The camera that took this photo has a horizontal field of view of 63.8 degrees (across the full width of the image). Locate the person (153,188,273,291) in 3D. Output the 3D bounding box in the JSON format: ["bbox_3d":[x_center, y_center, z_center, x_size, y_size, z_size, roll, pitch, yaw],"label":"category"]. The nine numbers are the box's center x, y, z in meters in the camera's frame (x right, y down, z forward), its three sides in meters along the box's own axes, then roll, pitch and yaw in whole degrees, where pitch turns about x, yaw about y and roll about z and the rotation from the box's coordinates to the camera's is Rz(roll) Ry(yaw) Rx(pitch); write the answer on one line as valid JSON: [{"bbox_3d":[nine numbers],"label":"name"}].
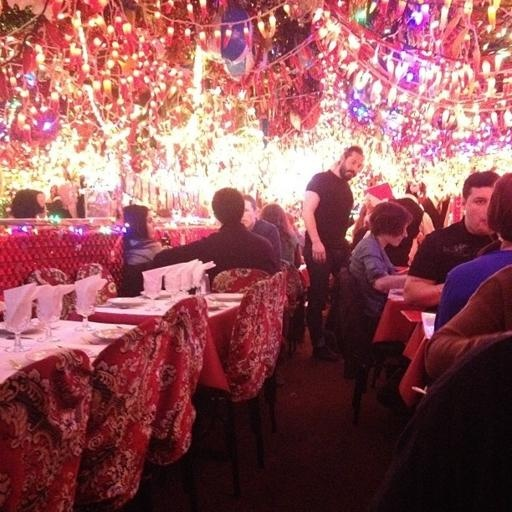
[{"bbox_3d":[-0.436,-0.185,3.939,1.001,1.672,0.492,-3,12,-11],"label":"person"}]

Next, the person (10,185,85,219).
[{"bbox_3d":[-2.678,-0.696,5.213,0.834,0.517,0.531,8,4,-31],"label":"person"}]
